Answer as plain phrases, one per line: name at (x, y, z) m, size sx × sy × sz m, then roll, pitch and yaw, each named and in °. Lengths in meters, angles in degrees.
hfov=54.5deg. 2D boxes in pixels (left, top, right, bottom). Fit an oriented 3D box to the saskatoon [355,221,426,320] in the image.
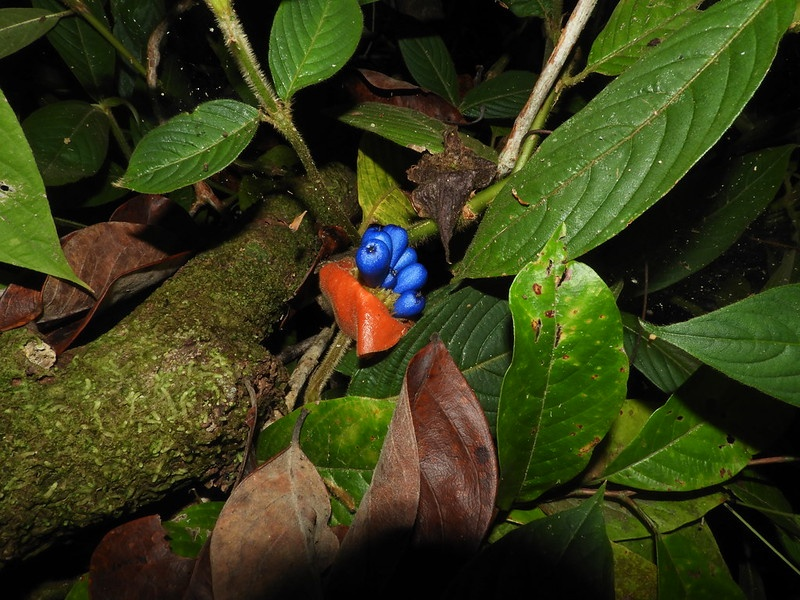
saskatoon at (-0.078, -0.125, 2.831) m, size 0.257 × 0.187 × 0.293 m, roll 40°, pitch 26°, yaw 13°
